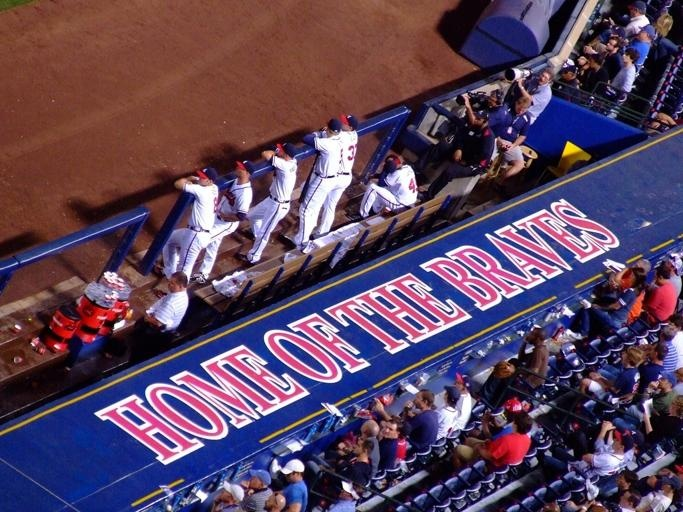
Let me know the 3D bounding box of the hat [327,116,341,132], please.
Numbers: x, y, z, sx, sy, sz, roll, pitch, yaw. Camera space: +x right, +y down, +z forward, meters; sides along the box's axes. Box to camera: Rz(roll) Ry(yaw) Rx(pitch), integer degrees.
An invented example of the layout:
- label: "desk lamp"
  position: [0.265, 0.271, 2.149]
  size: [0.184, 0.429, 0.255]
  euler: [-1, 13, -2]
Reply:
- label: "hat"
  position: [-0.127, -2.388, 22.643]
  size: [0.232, 0.203, 0.266]
  euler: [5, 43, -11]

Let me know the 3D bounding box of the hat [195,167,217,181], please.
- label: "hat"
  position: [-2.327, -1.370, 21.450]
  size: [0.366, 0.188, 0.249]
  euler: [25, 12, -11]

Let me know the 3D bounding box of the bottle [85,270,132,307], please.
- label: "bottle"
  position: [-3.798, 0.531, 20.527]
  size: [0.506, 0.219, 0.720]
  euler: [22, 19, 7]

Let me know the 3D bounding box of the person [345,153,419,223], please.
- label: "person"
  position: [0.948, -1.201, 23.733]
  size: [1.108, 1.335, 0.641]
  euler: [16, 18, 6]

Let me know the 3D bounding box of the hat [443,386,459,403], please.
- label: "hat"
  position: [1.795, 2.284, 20.350]
  size: [0.211, 0.241, 0.139]
  euler: [-3, -1, -16]

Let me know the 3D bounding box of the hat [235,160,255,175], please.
- label: "hat"
  position: [-1.694, -1.546, 21.935]
  size: [0.229, 0.254, 0.451]
  euler: [16, 21, 25]

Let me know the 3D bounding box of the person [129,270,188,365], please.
- label: "person"
  position: [-3.083, 1.121, 20.983]
  size: [0.554, 1.869, 0.713]
  euler: [42, 34, -13]

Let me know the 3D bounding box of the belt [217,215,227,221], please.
- label: "belt"
  position: [-2.132, -0.666, 22.064]
  size: [0.117, 0.025, 0.109]
  euler: [27, 38, 22]

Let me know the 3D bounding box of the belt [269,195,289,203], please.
- label: "belt"
  position: [-1.119, -1.008, 22.314]
  size: [0.192, 0.039, 0.183]
  euler: [22, 22, 18]

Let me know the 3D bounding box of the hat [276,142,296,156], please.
- label: "hat"
  position: [-0.974, -1.900, 22.030]
  size: [0.238, 0.166, 0.313]
  euler: [-28, 78, -46]

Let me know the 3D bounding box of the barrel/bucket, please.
- label: "barrel/bucket"
  position: [-4.306, 1.007, 20.799]
  size: [1.469, 0.826, 0.603]
  euler: [-31, 60, -30]

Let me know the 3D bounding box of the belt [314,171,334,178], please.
- label: "belt"
  position: [-0.313, -1.470, 22.806]
  size: [0.336, 0.094, 0.078]
  euler: [4, 20, -3]

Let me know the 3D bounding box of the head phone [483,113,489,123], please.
- label: "head phone"
  position: [2.820, -2.689, 24.281]
  size: [0.109, 0.111, 0.561]
  euler: [9, 18, 7]

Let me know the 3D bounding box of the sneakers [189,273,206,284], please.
- label: "sneakers"
  position: [-2.559, 0.410, 22.214]
  size: [0.266, 0.085, 0.156]
  euler: [11, 13, 37]
